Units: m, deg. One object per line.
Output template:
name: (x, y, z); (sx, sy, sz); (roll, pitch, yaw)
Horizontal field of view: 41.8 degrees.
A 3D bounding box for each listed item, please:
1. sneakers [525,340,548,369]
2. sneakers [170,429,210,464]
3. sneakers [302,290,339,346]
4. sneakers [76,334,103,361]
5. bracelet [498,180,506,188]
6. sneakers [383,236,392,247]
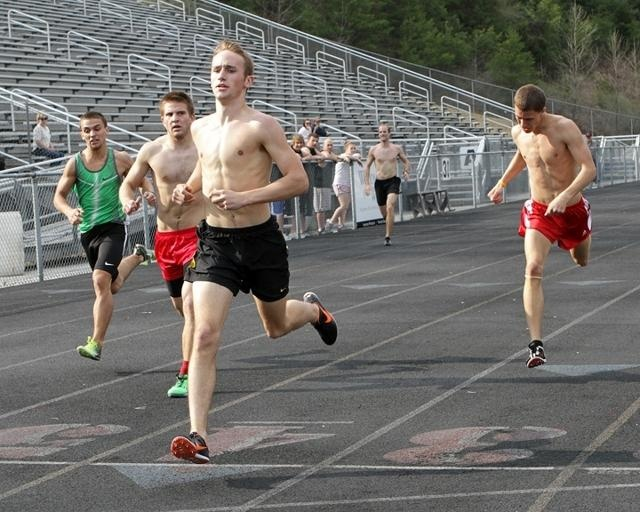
sneakers: (1.556, 0.720, 6.084); (0.131, 0.122, 0.299); (-2, -8, 7)
sneakers: (-0.649, 0.986, 4.287); (0.114, 0.117, 0.230); (-19, -38, 18)
sneakers: (0.014, 0.591, 7.566); (0.173, 0.507, 0.226); (-41, 3, 33)
sneakers: (-1.841, 0.768, 6.763); (0.130, 0.186, 0.261); (-4, 10, -4)
bracelet: (1.643, -0.640, 7.485); (0.077, 0.021, 0.071); (24, -9, -2)
sneakers: (1.310, -0.256, 16.139); (0.199, 0.193, 0.506); (-2, -3, 8)
